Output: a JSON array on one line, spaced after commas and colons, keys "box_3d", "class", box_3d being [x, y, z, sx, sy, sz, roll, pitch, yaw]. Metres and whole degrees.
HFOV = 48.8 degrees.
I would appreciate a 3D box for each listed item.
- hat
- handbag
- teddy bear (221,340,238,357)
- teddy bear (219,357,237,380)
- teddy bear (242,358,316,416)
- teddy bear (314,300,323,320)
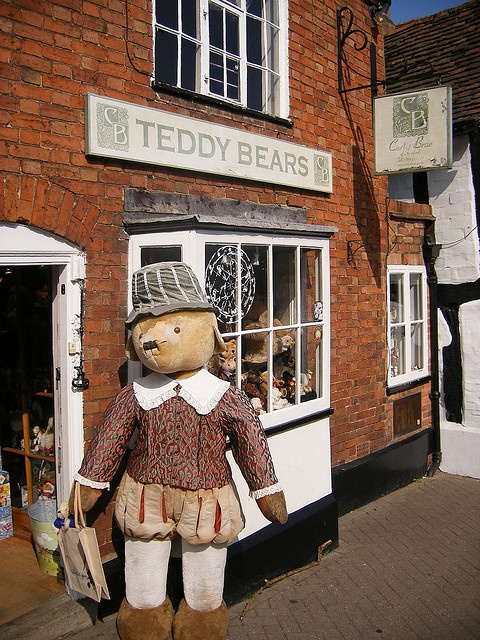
[{"box_3d": [-0.316, -0.131, 2.474, 0.404, 0.262, 0.395, -12, -3, 31], "class": "hat"}, {"box_3d": [-0.713, 0.983, 2.368, 0.130, 0.552, 0.359, 3, 4, -42], "class": "handbag"}, {"box_3d": [-0.053, 0.172, 3.094, 0.072, 0.112, 0.122, -2, 5, 21], "class": "teddy bear"}, {"box_3d": [-0.079, 0.291, 3.216, 0.075, 0.188, 0.117, 3, 9, 33], "class": "teddy bear"}, {"box_3d": [0.274, 0.462, 3.699, 0.270, 0.198, 0.468, 13, 13, 42], "class": "teddy bear"}, {"box_3d": [0.595, -0.067, 3.987, 0.069, 0.139, 0.030, -3, 4, -24], "class": "teddy bear"}]
